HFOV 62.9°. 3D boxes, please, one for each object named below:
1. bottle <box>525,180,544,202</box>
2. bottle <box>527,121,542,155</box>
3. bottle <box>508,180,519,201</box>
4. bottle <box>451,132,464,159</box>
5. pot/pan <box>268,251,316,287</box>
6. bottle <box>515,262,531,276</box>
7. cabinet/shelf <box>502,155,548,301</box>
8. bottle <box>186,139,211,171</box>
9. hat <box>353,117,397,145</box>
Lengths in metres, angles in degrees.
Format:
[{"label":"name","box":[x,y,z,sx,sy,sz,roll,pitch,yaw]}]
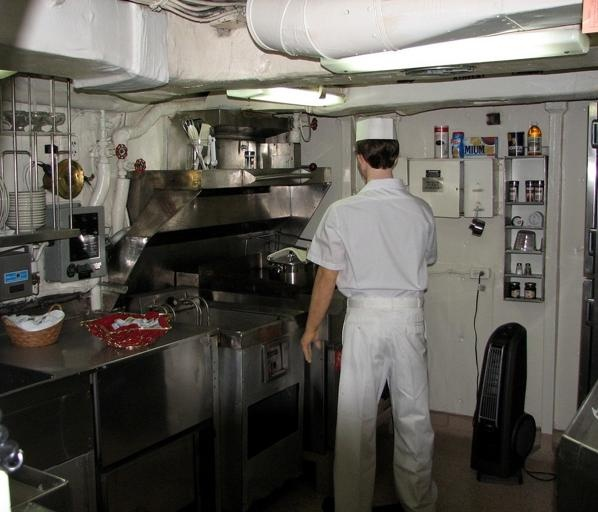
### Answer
[{"label":"bottle","box":[1.665,-0.459,3.458,0.133,0.202,0.073,1,7,19]},{"label":"bottle","box":[1.679,-0.829,3.492,0.105,0.220,0.136,5,10,25]},{"label":"bottle","box":[1.554,-0.472,3.563,0.083,0.162,0.154,5,10,24]},{"label":"bottle","box":[1.196,-0.839,3.691,0.089,0.214,0.192,3,9,12]},{"label":"pot/pan","box":[-0.097,0.058,3.629,0.336,0.236,0.271,4,11,14]},{"label":"bottle","box":[1.638,0.106,3.581,0.127,0.131,0.070,3,4,24]},{"label":"cabinet/shelf","box":[1.605,-0.350,3.534,0.216,0.798,0.124,-6,-7,-16]},{"label":"bottle","box":[-0.661,-0.669,3.217,0.127,0.181,0.093,4,9,18]},{"label":"hat","box":[0.409,-0.624,2.465,0.144,0.081,0.142,-8,12,-38]}]
